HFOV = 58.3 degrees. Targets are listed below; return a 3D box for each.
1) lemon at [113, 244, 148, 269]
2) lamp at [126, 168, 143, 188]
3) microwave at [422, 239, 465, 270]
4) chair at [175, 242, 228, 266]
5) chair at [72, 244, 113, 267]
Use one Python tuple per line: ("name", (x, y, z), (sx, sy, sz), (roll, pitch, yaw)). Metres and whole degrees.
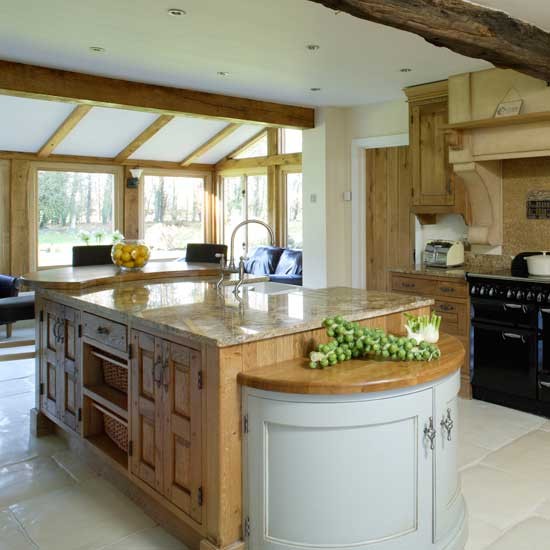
("lemon", (-1.140, -0.156, 3.868), (0.244, 0.146, 0.223), (0, 5, -8))
("lamp", (-2.503, -1.711, 8.692), (0.339, 0.337, 0.329), (2, 1, -5))
("microwave", (1.598, -0.193, 4.716), (0.315, 0.240, 0.305), (0, 1, -31))
("chair", (-0.803, -0.254, 5.769), (0.414, 0.205, 0.722), (-1, 5, -13))
("chair", (-1.895, -0.194, 5.139), (0.312, 0.264, 0.162), (-1, 0, -39))
